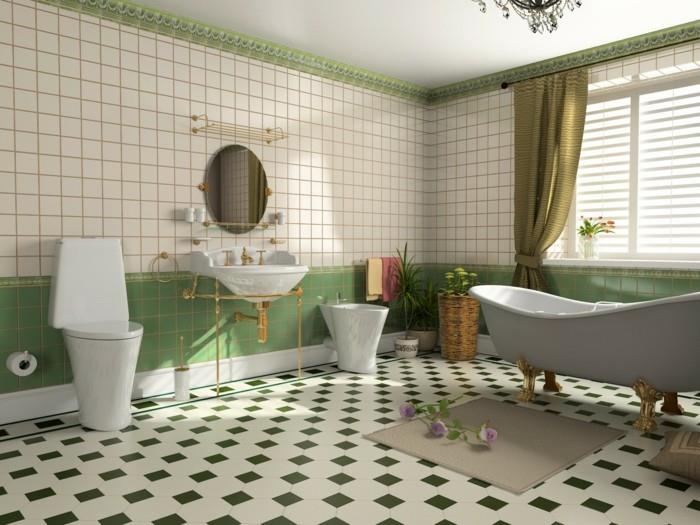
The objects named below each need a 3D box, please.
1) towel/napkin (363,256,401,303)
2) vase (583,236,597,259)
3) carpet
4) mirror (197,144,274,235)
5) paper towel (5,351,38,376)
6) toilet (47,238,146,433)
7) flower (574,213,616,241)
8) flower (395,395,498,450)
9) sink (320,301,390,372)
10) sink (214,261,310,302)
[{"bbox_3d":[0.344,0.198,5.002,0.571,0.472,0.116,-1,6,-45],"label":"towel/napkin"},{"bbox_3d":[2.408,-0.135,4.569,0.138,0.210,0.122,2,7,31],"label":"vase"},{"bbox_3d":[0.946,1.120,2.955,1.351,0.064,0.986,-5,7,-37],"label":"carpet"},{"bbox_3d":[-1.036,-0.635,4.031,0.963,0.960,0.088,-1,3,-42],"label":"mirror"},{"bbox_3d":[-2.245,0.699,3.126,0.162,0.160,0.136,-5,7,-36],"label":"paper towel"},{"bbox_3d":[-1.736,0.473,3.132,0.519,1.260,0.615,-5,7,-32],"label":"toilet"},{"bbox_3d":[2.466,-0.348,4.590,0.273,0.136,0.260,6,0,-32],"label":"flower"},{"bbox_3d":[0.696,1.063,3.048,0.443,0.110,0.294,4,-1,-40],"label":"flower"},{"bbox_3d":[0.066,0.702,4.373,0.782,0.621,0.468,1,2,36],"label":"sink"},{"bbox_3d":[-0.686,0.154,3.592,0.374,0.174,0.511,2,3,37],"label":"sink"}]
